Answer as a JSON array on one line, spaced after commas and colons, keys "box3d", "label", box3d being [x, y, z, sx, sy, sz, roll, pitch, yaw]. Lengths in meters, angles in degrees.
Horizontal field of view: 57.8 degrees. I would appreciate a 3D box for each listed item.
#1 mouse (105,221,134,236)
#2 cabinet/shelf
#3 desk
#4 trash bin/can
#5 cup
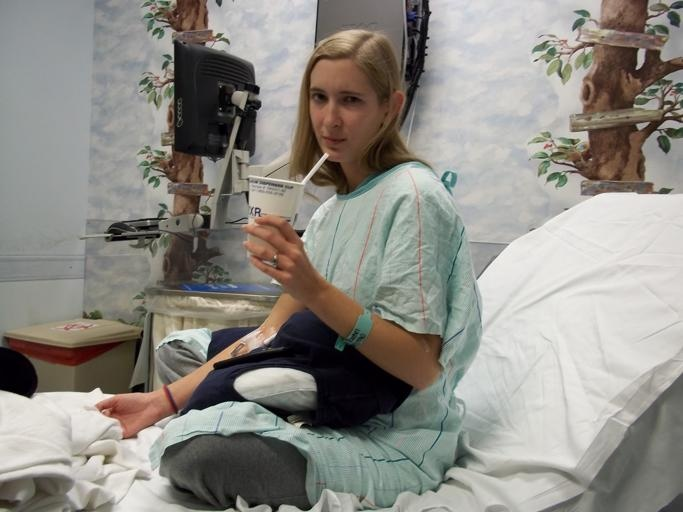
[{"box3d": [-1.082, -0.134, 3.000, 0.109, 0.038, 0.072, -1, 3, 10], "label": "mouse"}, {"box3d": [-1.392, 0.475, 3.183, 0.479, 0.503, 0.428, 5, 5, 22], "label": "cabinet/shelf"}, {"box3d": [-0.645, 0.315, 2.800, 0.543, 0.410, 0.549, 0, 0, -23], "label": "desk"}, {"box3d": [-1.384, 0.466, 3.208, 0.505, 0.524, 0.437, 4, 6, 3], "label": "trash bin/can"}, {"box3d": [-0.234, -0.114, 1.738, 0.180, 0.174, 0.172, 17, -1, 0], "label": "cup"}]
